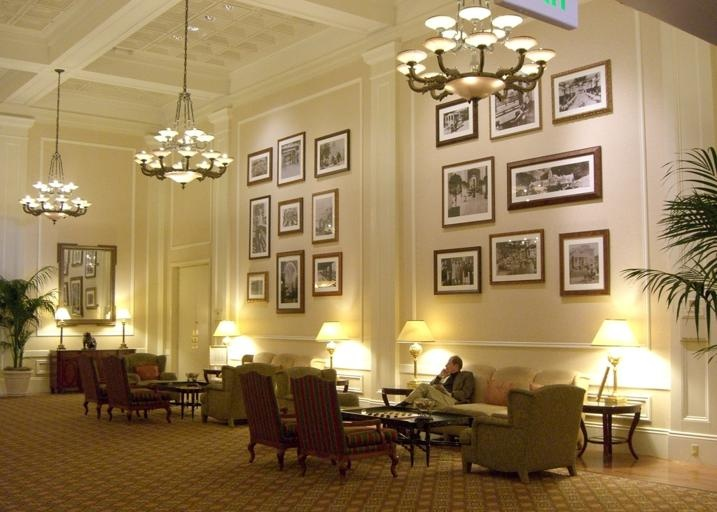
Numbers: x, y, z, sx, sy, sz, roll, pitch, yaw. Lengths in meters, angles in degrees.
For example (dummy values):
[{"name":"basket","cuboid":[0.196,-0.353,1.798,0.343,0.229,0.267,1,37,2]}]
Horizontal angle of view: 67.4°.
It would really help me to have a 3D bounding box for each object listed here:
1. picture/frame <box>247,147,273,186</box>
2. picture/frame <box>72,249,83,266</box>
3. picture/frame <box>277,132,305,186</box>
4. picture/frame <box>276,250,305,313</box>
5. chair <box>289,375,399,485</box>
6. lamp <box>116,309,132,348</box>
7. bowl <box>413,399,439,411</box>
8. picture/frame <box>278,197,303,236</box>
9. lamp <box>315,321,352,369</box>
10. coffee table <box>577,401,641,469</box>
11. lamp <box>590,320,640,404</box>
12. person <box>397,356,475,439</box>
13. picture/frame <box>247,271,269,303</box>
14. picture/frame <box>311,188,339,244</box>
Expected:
[{"name":"picture/frame","cuboid":[-2.257,-2.061,12.407,0.982,0.934,0.034,-3,-5,45]},{"name":"picture/frame","cuboid":[-7.626,0.047,14.565,0.249,0.421,0.059,3,-7,-29]},{"name":"picture/frame","cuboid":[-1.447,-2.099,11.676,1.171,1.349,0.092,-8,-13,43]},{"name":"picture/frame","cuboid":[-1.461,0.559,11.533,0.857,1.312,0.154,-7,-9,44]},{"name":"chair","cuboid":[-0.259,2.040,6.788,1.275,1.559,1.150,3,-7,-37]},{"name":"lamp","cuboid":[-6.471,2.002,14.763,0.342,1.050,0.617,3,-7,-26]},{"name":"bowl","cuboid":[0.830,1.882,6.770,0.277,0.111,0.282,0,-9,0]},{"name":"picture/frame","cuboid":[-1.449,-0.849,11.588,0.837,0.837,0.056,-3,-5,45]},{"name":"lamp","cuboid":[-0.482,1.696,10.284,0.610,0.871,0.761,-1,-6,3]},{"name":"coffee table","cuboid":[3.145,2.249,7.050,0.915,0.771,0.865,8,-14,-35]},{"name":"lamp","cuboid":[3.368,1.353,7.047,0.543,1.032,0.618,-3,-7,26]},{"name":"person","cuboid":[1.103,1.918,8.042,1.213,0.732,0.596,2,-8,-16]},{"name":"picture/frame","cuboid":[-2.277,0.713,12.250,0.093,0.647,0.695,8,-10,-44]},{"name":"picture/frame","cuboid":[-0.660,-0.810,10.901,0.101,1.479,1.095,4,-6,-42]}]
